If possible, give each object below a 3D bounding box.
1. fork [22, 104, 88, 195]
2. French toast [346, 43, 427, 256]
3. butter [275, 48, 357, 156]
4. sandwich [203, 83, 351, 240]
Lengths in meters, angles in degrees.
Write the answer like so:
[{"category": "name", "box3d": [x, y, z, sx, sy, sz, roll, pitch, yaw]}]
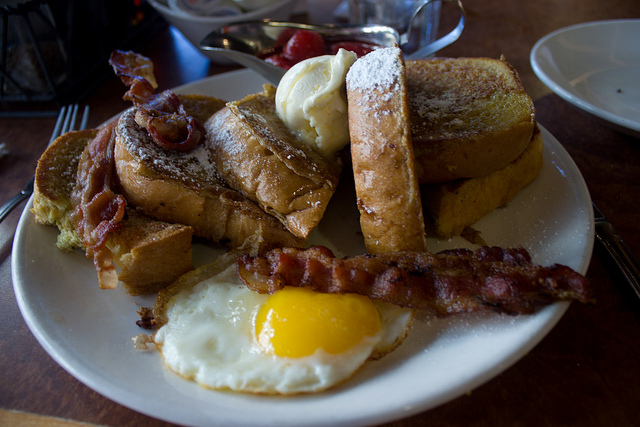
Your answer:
[{"category": "fork", "box3d": [-1.044, -0.243, 2.460, 0.055, 0.037, 0.495, 7, 56, 2]}, {"category": "French toast", "box3d": [0.252, -0.222, 2.082, 0.300, 0.642, 0.265, -1, 13, 11]}, {"category": "butter", "box3d": [0.017, -0.414, 2.268, 0.316, 0.345, 0.165, 13, 22, 40]}, {"category": "sandwich", "box3d": [-0.227, -0.158, 2.257, 0.489, 0.162, 0.493, 40, 48, -10]}]
